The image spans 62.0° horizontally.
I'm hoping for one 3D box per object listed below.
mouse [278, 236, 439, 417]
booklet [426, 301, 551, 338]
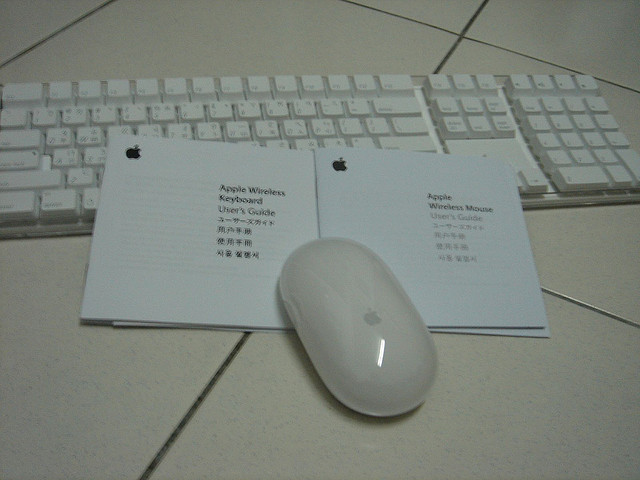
[{"bbox_3d":[0.034,0.091,0.616,0.131,0.214,0.057,-25,-18,-19],"label":"mouse"},{"bbox_3d":[0.210,0.100,0.678,0.155,0.006,0.070,-3,22,16],"label":"booklet"}]
